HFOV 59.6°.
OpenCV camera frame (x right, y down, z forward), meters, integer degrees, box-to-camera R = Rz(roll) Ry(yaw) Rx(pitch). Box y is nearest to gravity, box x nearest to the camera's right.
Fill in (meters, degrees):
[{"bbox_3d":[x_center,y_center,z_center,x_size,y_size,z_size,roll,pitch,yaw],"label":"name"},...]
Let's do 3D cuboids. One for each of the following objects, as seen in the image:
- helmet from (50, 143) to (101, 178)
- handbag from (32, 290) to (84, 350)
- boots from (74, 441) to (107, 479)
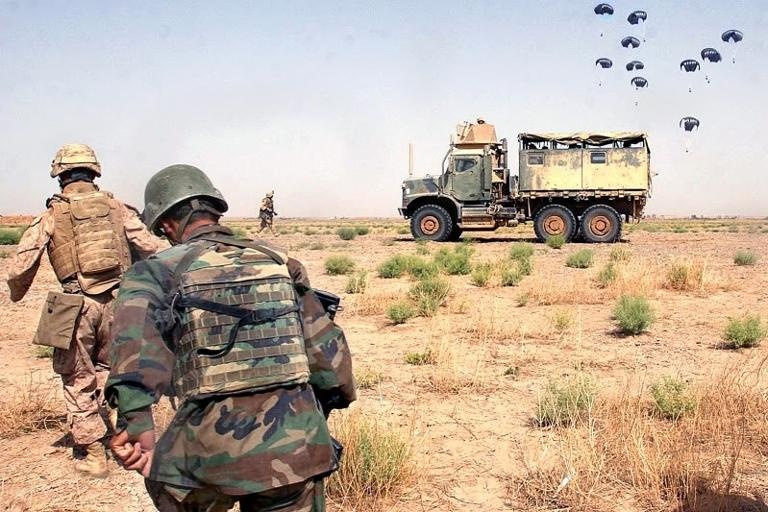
[{"bbox_3d":[-3.181,-0.994,6.937,0.391,0.319,0.399,-4,4,37],"label":"helmet"},{"bbox_3d":[-3.131,0.631,6.431,0.471,0.590,0.302,-7,10,-26],"label":"handbag"},{"bbox_3d":[-2.968,2.010,6.740,0.302,0.325,0.164,5,-6,4],"label":"boots"}]
